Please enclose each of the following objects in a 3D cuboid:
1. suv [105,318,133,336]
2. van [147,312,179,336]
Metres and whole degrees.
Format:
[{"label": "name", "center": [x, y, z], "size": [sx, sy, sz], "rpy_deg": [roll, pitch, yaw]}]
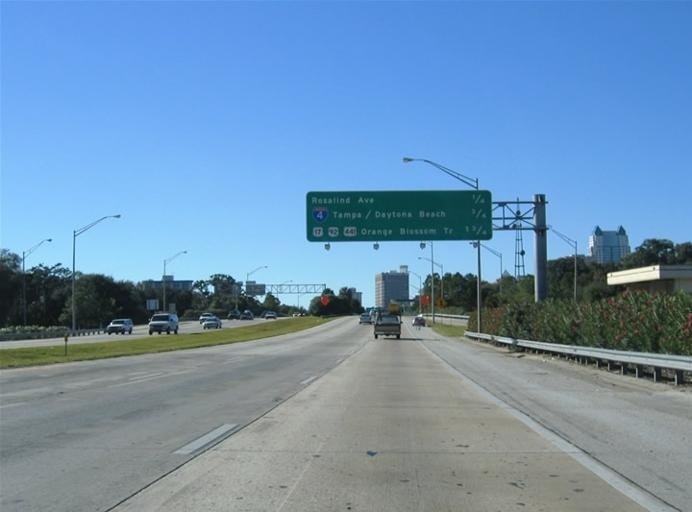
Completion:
[{"label": "suv", "center": [-21.260, 6.642, 68.069], "size": [1.563, 1.405, 2.880], "rpy_deg": [-1, -17, 0]}, {"label": "van", "center": [-16.548, 6.243, 65.706], "size": [1.703, 1.713, 3.325], "rpy_deg": [-2, -11, 1]}]
